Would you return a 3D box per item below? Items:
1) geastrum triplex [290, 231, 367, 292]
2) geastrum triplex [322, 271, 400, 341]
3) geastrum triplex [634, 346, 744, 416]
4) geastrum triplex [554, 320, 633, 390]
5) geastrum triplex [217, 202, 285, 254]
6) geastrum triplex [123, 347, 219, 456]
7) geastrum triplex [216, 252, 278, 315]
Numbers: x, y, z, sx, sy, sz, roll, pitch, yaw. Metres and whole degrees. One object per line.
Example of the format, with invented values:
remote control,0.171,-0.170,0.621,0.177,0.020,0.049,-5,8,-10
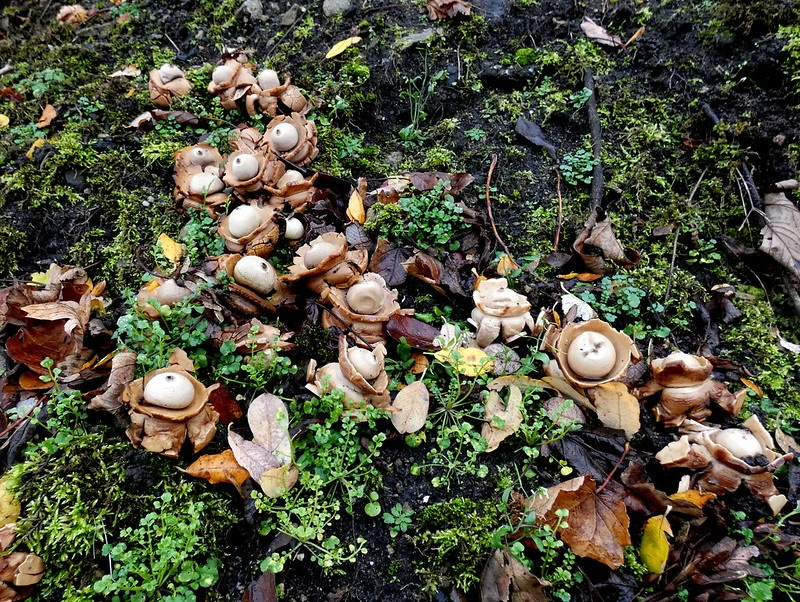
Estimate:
geastrum triplex,-0.459,-0.188,4.150,0.552,0.451,0.237,0,78,23
geastrum triplex,-0.249,0.012,4.050,0.473,0.241,0.406,19,78,12
geastrum triplex,1.711,0.573,3.971,0.457,0.315,0.371,35,62,20
geastrum triplex,1.118,0.322,3.842,0.465,0.212,0.407,10,45,12
geastrum triplex,-0.926,-0.428,4.153,0.301,0.220,0.322,7,47,11
geastrum triplex,-1.323,0.552,3.784,0.584,0.433,0.508,9,40,-6
geastrum triplex,-0.891,-0.081,4.045,0.362,0.148,0.346,22,77,-24
